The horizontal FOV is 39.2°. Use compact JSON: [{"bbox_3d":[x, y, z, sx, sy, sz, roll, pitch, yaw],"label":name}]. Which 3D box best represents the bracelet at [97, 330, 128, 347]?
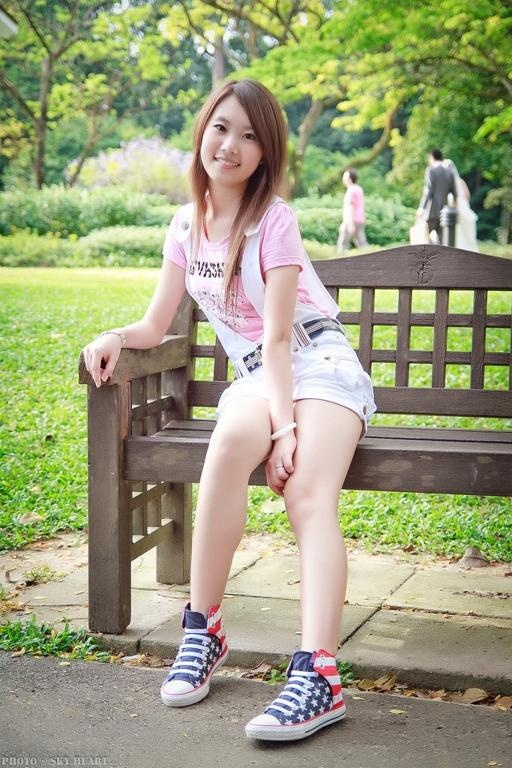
[{"bbox_3d":[-0.376,-0.129,1.884,0.054,0.052,0.056,12,6,-1],"label":"bracelet"}]

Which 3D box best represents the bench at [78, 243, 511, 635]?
[{"bbox_3d":[0.139,0.204,2.110,1.608,1.089,0.664,1,6,11],"label":"bench"}]

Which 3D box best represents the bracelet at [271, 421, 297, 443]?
[{"bbox_3d":[0.061,0.105,1.556,0.042,0.011,0.042,-29,-2,-22],"label":"bracelet"}]

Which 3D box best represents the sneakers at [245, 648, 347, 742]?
[{"bbox_3d":[0.077,0.599,1.445,0.105,0.151,0.267,-2,1,43],"label":"sneakers"}]

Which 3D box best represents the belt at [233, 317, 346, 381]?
[{"bbox_3d":[0.080,-0.101,1.839,0.214,0.064,0.154,-29,-4,-12],"label":"belt"}]

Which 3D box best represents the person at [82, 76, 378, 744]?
[{"bbox_3d":[-0.100,-0.021,1.711,0.694,1.453,0.807,0,4,17],"label":"person"}]

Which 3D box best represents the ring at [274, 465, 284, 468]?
[{"bbox_3d":[0.047,0.172,1.499,0.021,0.010,0.005,1,4,28],"label":"ring"}]
